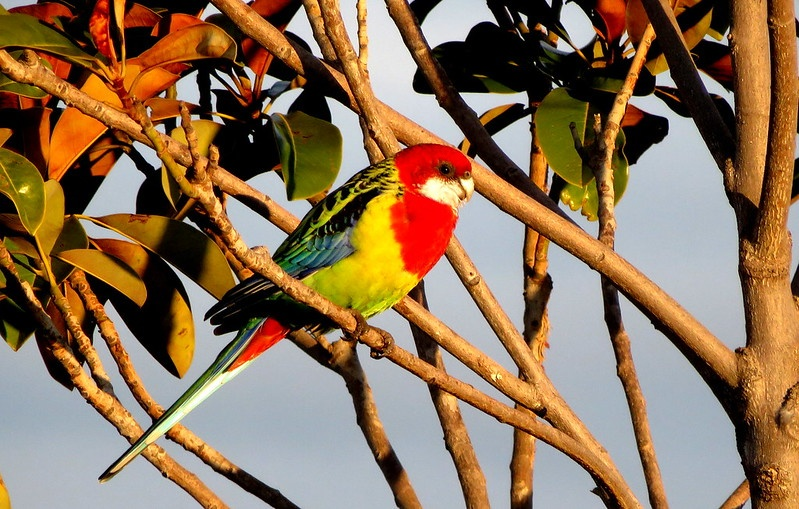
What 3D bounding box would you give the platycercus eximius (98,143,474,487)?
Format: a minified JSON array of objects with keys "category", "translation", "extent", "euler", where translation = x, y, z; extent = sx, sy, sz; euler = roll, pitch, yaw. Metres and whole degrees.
[{"category":"platycercus eximius","translation":[-0.594,0.258,7.380],"extent":[2.106,1.198,0.620],"euler":[-12,-16,16]}]
